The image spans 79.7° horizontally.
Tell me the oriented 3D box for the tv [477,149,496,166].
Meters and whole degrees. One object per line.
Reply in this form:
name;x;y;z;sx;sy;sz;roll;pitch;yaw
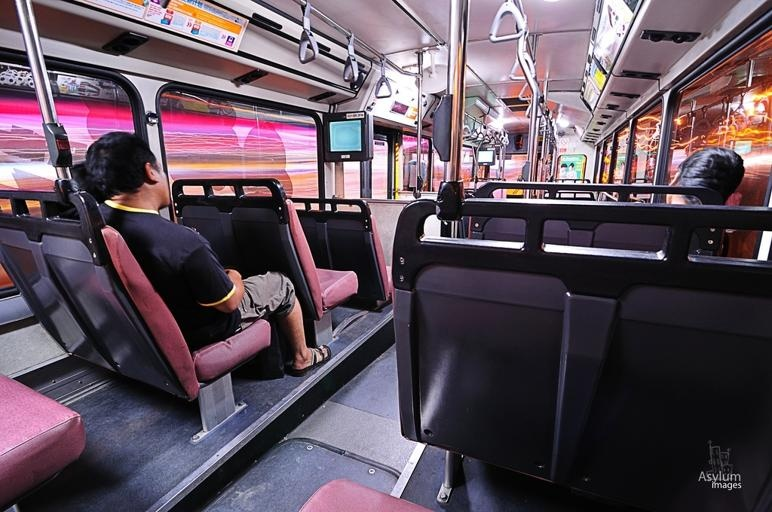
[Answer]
tv;2.360;-2.290;10.713;0.130;0.448;0.488;9;-3;-39

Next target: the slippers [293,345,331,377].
slippers;-0.549;0.800;3.524;0.133;0.114;0.295;21;36;33

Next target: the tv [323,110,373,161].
tv;-0.438;-1.420;5.483;0.575;0.539;0.221;10;17;31
